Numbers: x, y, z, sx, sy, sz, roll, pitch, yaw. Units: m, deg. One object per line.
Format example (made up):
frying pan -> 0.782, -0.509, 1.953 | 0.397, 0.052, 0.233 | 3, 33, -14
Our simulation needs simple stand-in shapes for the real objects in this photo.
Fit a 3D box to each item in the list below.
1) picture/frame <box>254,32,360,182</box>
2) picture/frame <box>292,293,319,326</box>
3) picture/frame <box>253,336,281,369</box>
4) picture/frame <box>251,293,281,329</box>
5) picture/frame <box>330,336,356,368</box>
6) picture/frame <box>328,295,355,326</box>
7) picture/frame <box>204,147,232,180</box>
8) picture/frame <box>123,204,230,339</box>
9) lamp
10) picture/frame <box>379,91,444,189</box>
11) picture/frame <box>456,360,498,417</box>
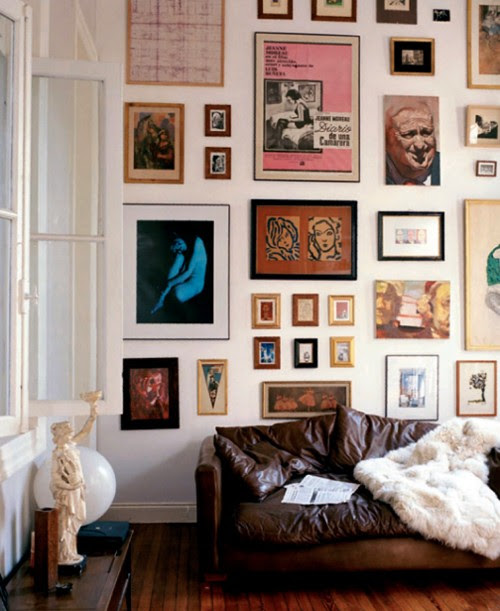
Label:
picture/frame -> 0.310, -1.208, 4.110 | 0.763, 1.159, 0.040 | 0, -2, -7
picture/frame -> 0.322, 0.029, 4.090 | 0.163, 0.238, 0.008 | 0, 2, -3
picture/frame -> 0.087, 0.284, 4.070 | 0.161, 0.226, 0.008 | -1, -2, -6
picture/frame -> 0.082, 0.035, 4.074 | 0.176, 0.248, 0.025 | 0, 1, 0
picture/frame -> 0.549, 0.282, 4.108 | 0.161, 0.233, 0.022 | 0, -1, -3
picture/frame -> 0.540, 0.030, 4.110 | 0.157, 0.213, 0.015 | 0, -1, -6
picture/frame -> -0.207, -0.850, 4.062 | 0.161, 0.226, 0.009 | 0, 2, -1
picture/frame -> -0.476, -0.191, 4.029 | 0.654, 0.992, 0.018 | 1, 0, -7
lamp -> -0.663, 0.830, 2.872 | 0.386, 0.534, 0.387 | 1, -3, -34
picture/frame -> 0.967, -1.010, 4.164 | 0.496, 0.888, 0.009 | -1, -2, -4
picture/frame -> 1.382, 0.507, 4.179 | 0.286, 0.457, 0.020 | 0, -3, -4
